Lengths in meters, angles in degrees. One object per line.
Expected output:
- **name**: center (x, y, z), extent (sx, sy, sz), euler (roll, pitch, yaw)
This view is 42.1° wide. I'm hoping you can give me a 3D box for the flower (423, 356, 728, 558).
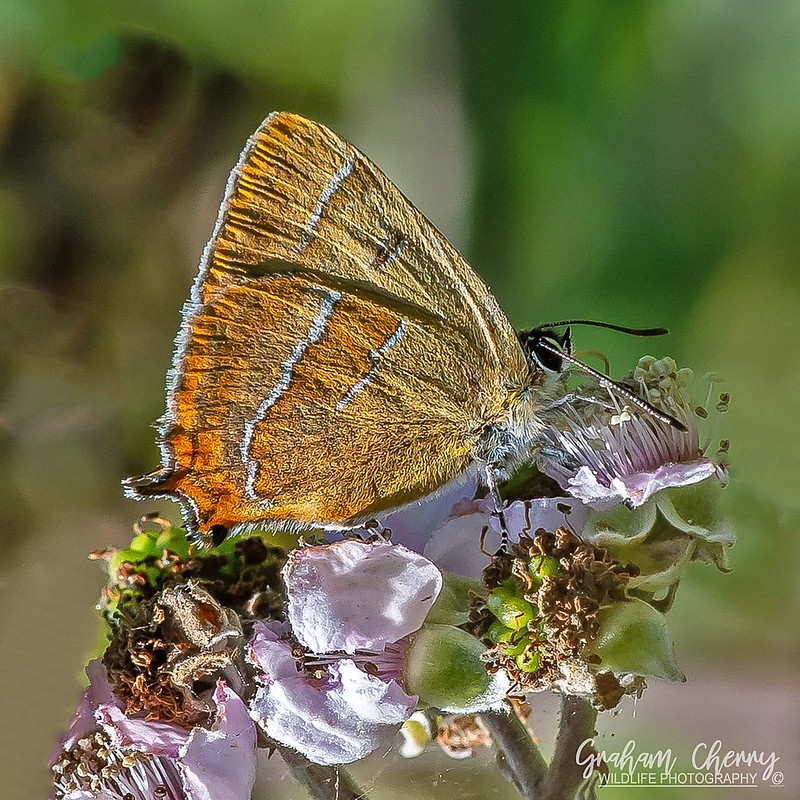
- **flower**: center (0.472, 0.121, 2.300), extent (0.481, 0.269, 0.459), euler (7, 68, 3)
